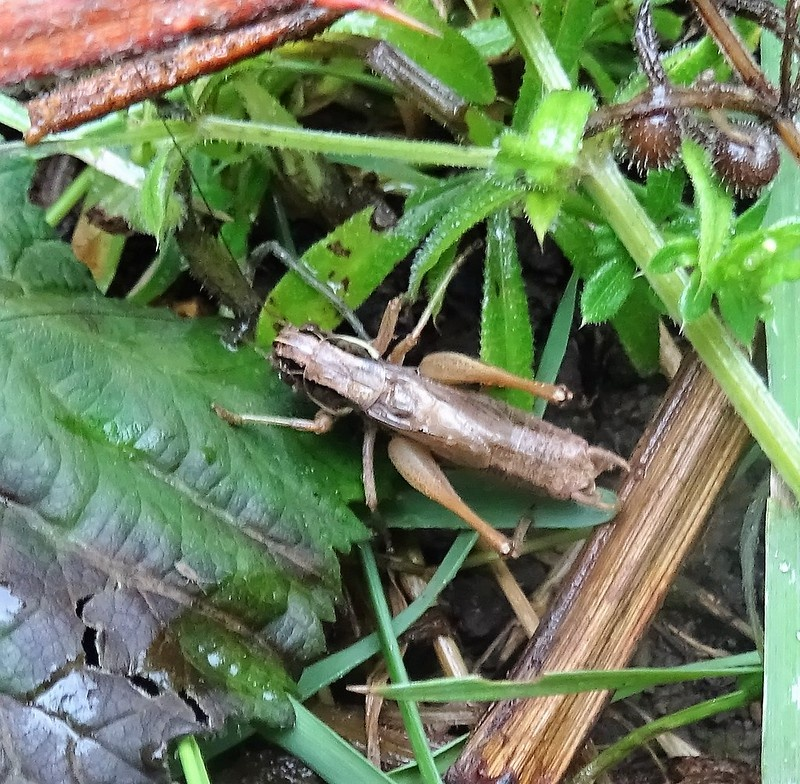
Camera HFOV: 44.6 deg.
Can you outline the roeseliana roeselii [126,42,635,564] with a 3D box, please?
[{"bbox_3d":[-0.003,-0.030,1.424,0.712,0.215,0.551,42,100,1],"label":"roeseliana roeselii"}]
